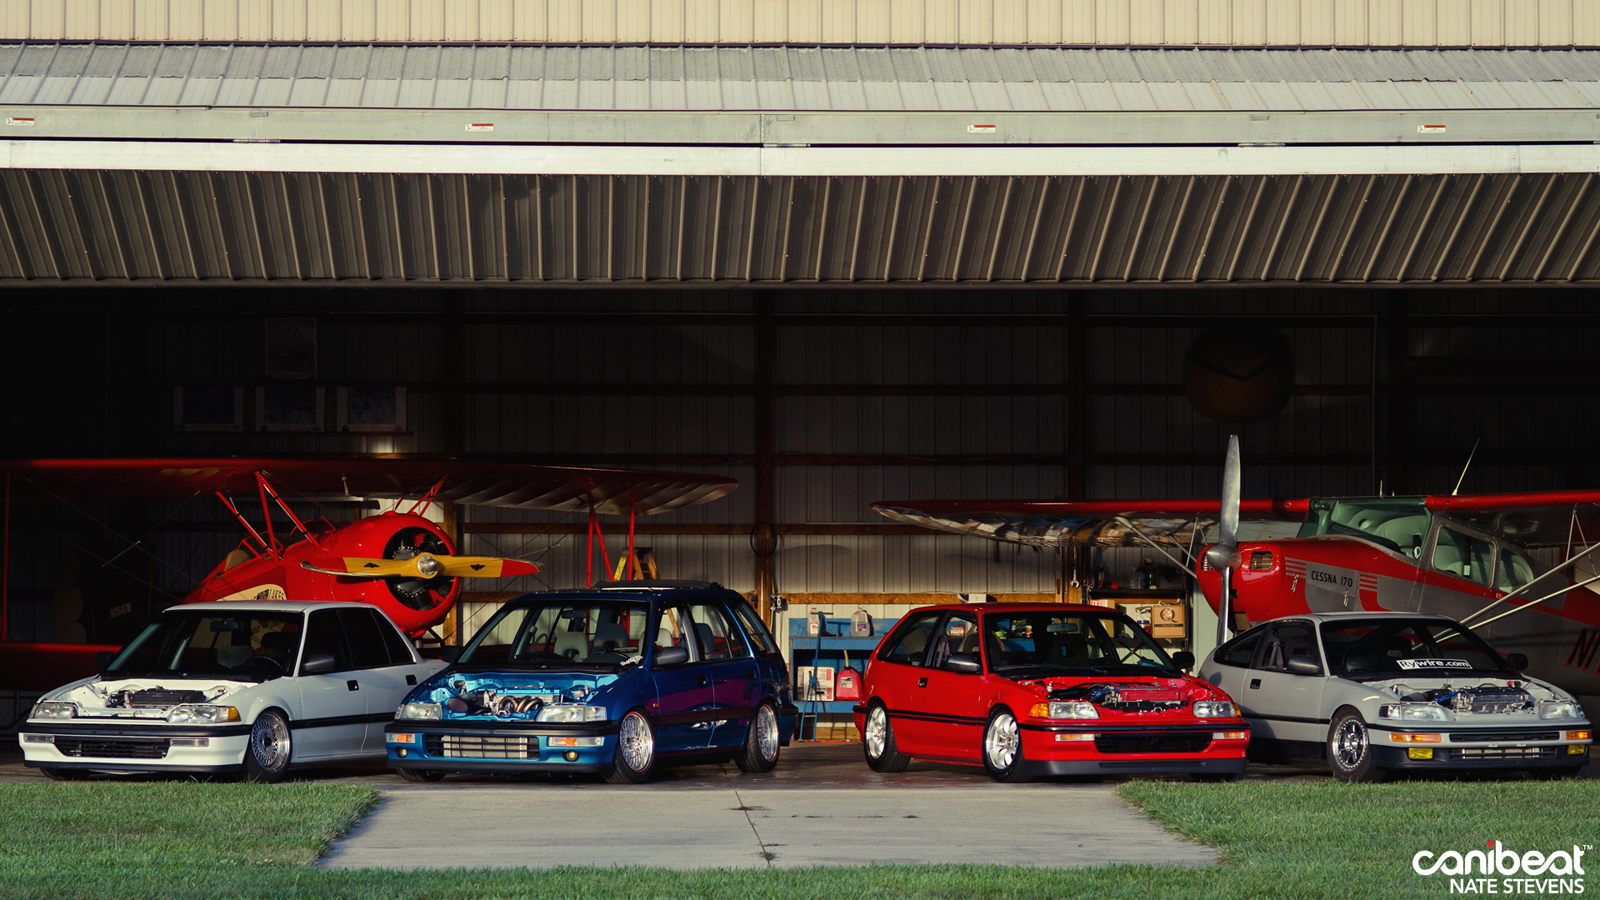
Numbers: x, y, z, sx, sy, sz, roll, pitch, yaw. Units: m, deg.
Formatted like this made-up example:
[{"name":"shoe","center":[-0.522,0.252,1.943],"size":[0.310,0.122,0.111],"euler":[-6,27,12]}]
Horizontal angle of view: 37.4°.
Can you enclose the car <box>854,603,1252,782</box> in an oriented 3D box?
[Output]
[{"name":"car","center":[3.062,2.827,28.382],"size":[4.508,2.222,1.847],"euler":[-3,-13,9]}]

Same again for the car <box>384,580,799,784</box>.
[{"name":"car","center":[-2.090,2.780,28.364],"size":[2.532,1.391,3.691],"euler":[-5,-8,33]}]
